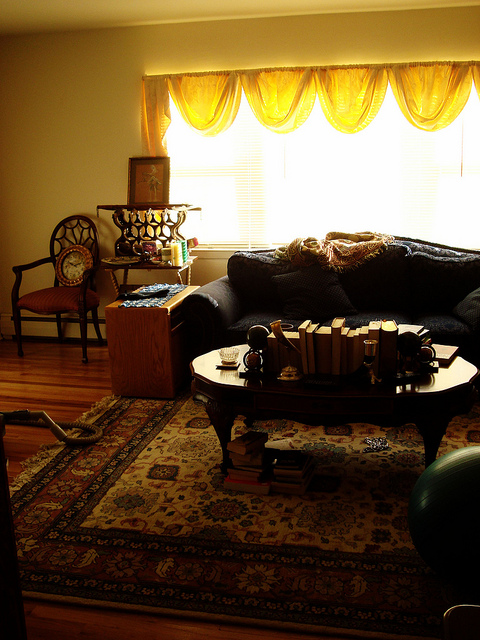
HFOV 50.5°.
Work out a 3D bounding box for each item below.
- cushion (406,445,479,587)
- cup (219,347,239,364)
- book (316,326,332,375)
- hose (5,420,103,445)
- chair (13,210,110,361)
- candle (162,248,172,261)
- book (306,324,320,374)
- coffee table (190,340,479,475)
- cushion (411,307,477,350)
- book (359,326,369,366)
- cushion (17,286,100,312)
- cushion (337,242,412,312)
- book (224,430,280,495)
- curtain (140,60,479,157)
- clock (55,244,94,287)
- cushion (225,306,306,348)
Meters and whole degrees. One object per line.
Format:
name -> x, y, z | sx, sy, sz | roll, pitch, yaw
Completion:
cushion -> 0.547, 0.512, 1.360 | 0.163, 0.315, 0.234 | 2, 9, 21
cup -> -0.053, 0.166, 2.316 | 0.084, 0.062, 0.097 | -2, 9, -3
book -> 0.341, 0.134, 2.096 | 0.037, 0.153, 0.156 | 3, 5, 15
hose -> -0.959, 0.584, 2.622 | 0.496, 0.031, 0.193 | 5, 9, 19
chair -> -1.530, -0.279, 4.345 | 0.767, 1.181, 0.724 | -2, 11, -14
candle -> -0.556, -0.479, 3.778 | 0.078, 0.084, 0.086 | 9, 19, 22
book -> 0.291, 0.126, 2.104 | 0.033, 0.137, 0.140 | -2, 4, 10
coffee table -> 0.357, 0.370, 2.118 | 1.232, 0.614, 0.420 | 0, 9, 12
cushion -> 1.244, 0.026, 3.145 | 0.439, 0.206, 0.395 | 3, 13, 10
book -> 0.491, 0.113, 2.026 | 0.052, 0.152, 0.144 | 1, 6, 12
cushion -> -1.518, -0.163, 4.232 | 0.652, 0.172, 0.289 | 1, 9, 15
cushion -> 0.939, -0.285, 3.496 | 0.489, 0.445, 0.222 | -2, 6, 15
book -> 0.051, 0.589, 2.136 | 0.207, 0.199, 0.180 | 1, 9, 15
curtain -> 0.465, -1.658, 3.949 | 2.610, 0.638, 0.115 | 0, 9, 11
clock -> -1.437, -0.461, 4.429 | 0.410, 0.401, 0.044 | 0, -8, 22
cushion -> 0.090, 0.024, 3.283 | 0.320, 0.074, 0.294 | 1, 18, 9
